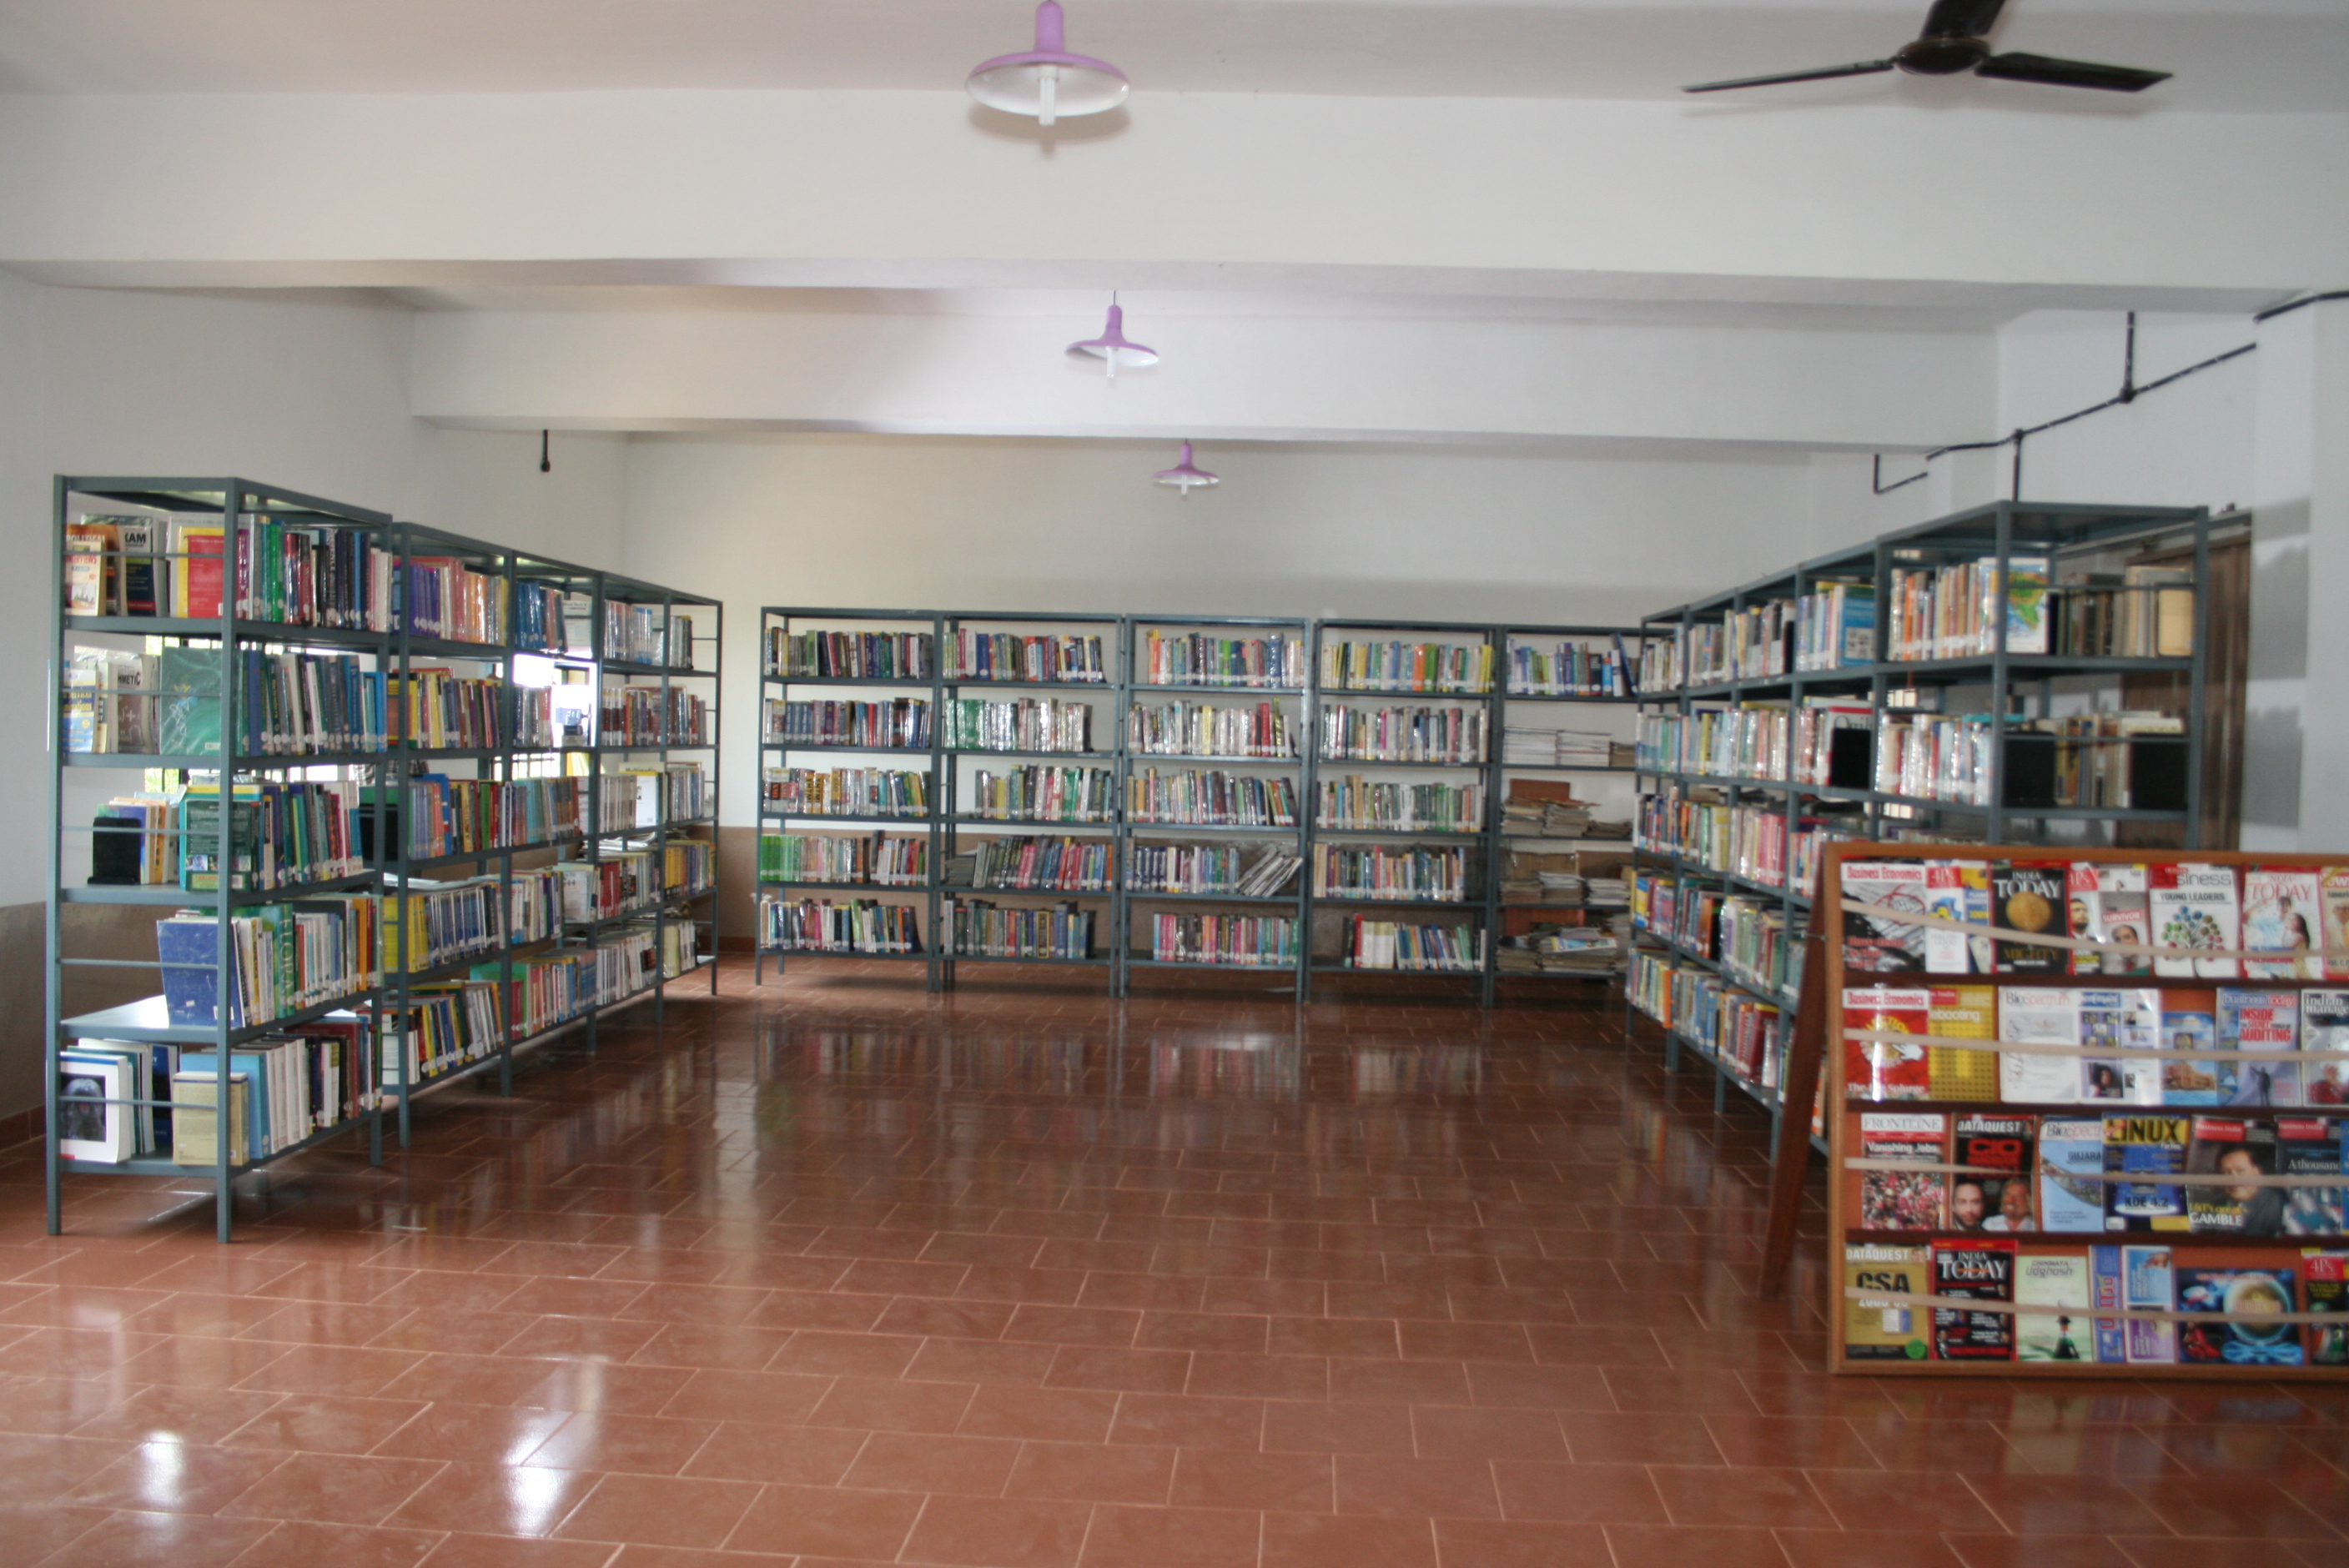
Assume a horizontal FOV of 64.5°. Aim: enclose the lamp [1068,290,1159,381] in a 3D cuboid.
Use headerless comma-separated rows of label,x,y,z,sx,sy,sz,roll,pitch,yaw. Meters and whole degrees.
lamp,-0.282,-1.998,8.478,0.440,0.602,0.182,1,-2,5
